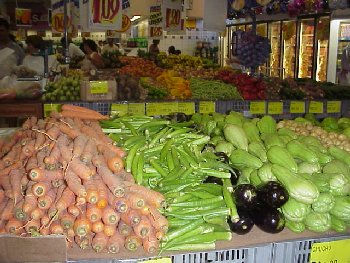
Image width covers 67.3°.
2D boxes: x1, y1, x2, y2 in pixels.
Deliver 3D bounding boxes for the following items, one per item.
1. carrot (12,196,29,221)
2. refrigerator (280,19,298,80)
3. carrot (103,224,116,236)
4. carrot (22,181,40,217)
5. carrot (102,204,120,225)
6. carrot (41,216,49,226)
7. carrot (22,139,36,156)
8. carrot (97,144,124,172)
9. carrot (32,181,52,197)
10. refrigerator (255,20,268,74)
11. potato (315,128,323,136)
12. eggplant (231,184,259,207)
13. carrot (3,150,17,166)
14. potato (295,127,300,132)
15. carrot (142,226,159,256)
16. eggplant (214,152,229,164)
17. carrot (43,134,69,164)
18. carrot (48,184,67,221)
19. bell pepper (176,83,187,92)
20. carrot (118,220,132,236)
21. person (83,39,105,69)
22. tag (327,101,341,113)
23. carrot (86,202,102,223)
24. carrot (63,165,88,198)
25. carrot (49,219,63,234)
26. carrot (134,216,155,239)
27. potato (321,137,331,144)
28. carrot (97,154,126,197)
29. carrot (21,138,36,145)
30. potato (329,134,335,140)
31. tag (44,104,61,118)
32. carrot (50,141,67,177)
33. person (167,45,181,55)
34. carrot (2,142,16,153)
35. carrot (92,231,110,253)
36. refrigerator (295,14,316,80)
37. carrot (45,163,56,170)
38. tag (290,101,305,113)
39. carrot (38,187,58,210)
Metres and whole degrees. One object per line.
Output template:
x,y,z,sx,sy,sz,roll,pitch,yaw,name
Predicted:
-0.815,0.411,1.365,0.054,0.057,0.137,-4,24,-21,carrot
4.837,-3.409,10.836,0.765,2.449,0.611,2,31,26,refrigerator
-0.341,0.513,1.354,0.040,0.033,0.056,0,12,-5,carrot
-0.762,0.359,1.368,0.045,0.049,0.165,1,27,-19,carrot
-0.336,0.439,1.363,0.091,0.089,0.063,0,8,-9,carrot
-0.694,0.468,1.376,0.030,0.044,0.023,3,1,28,carrot
-0.920,0.100,1.632,0.052,0.041,0.109,24,23,-14,carrot
-0.404,0.137,1.629,0.081,0.093,0.285,-25,38,-20,carrot
-0.712,0.304,1.360,0.044,0.045,0.101,-1,0,-7,carrot
4.051,-3.856,11.989,0.500,2.417,1.133,1,8,-3,refrigerator
1.563,-0.002,2.783,0.058,0.034,0.060,-22,58,-25,potato
0.437,0.386,1.590,0.133,0.143,0.156,-20,1,-44,eggplant
-1.070,0.175,1.671,0.047,0.042,0.105,20,25,-21,carrot
1.353,-0.020,2.828,0.044,0.041,0.061,5,10,23,potato
-0.129,0.583,1.365,0.065,0.061,0.155,11,38,-11,carrot
0.371,0.202,1.986,0.069,0.020,0.071,27,2,37,eggplant
-0.688,0.100,1.512,0.057,0.046,0.191,-17,40,29,carrot
-0.643,0.374,1.392,0.046,0.190,0.046,-15,-41,41,carrot
0.124,-0.798,4.687,0.154,0.047,0.165,1,41,-26,bell pepper
-0.260,0.500,1.353,0.068,0.057,0.148,4,-7,-11,carrot
-2.475,-2.387,7.966,0.478,1.034,1.932,-2,10,-20,person
2.677,-0.412,4.333,0.174,0.173,0.027,-1,10,-6,tag
-0.420,0.420,1.337,0.046,0.050,0.111,-5,22,-30,carrot
-0.535,0.269,1.420,0.230,0.072,0.070,54,9,32,carrot
-0.626,0.489,1.351,0.038,0.038,0.081,7,4,-19,carrot
-0.167,0.492,1.351,0.058,0.057,0.132,-1,2,-4,carrot
1.578,0.088,2.687,0.074,0.045,0.059,-27,9,-12,potato
-0.346,0.219,1.409,0.078,0.076,0.279,-9,36,-29,carrot
-0.991,0.069,1.726,0.066,0.017,0.045,-2,34,20,carrot
1.667,0.054,2.715,0.069,0.045,0.040,0,9,-6,potato
-1.544,-0.273,3.255,0.241,0.198,0.142,-1,2,-32,tag
-0.660,0.160,1.464,0.037,0.179,0.046,-10,-2,-5,carrot
-0.008,-3.226,10.424,0.447,0.472,1.310,1,9,1,person
-1.233,0.116,1.895,0.025,0.031,0.106,10,20,-15,carrot
-0.380,0.564,1.343,0.049,0.053,0.115,-42,11,10,carrot
5.145,-3.142,9.997,0.779,3.397,0.326,6,-29,20,refrigerator
-0.688,0.191,1.424,0.033,0.037,0.013,1,14,-8,carrot
2.029,-0.396,4.244,0.257,0.210,0.154,1,6,-1,tag
-0.677,0.353,1.377,0.041,0.044,0.124,8,18,0,carrot
